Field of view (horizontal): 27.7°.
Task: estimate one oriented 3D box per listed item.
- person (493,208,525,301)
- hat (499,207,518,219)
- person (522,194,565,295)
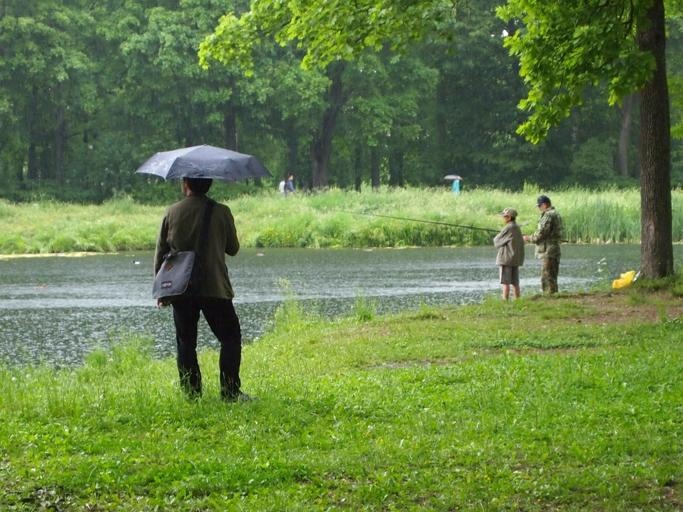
[{"bbox_3d":[4.864,0.091,40.509,0.951,2.833,0.939,1,1,5],"label":"person"},{"bbox_3d":[4.833,-1.207,40.366,0.478,0.253,0.329,3,11,22],"label":"hat"},{"bbox_3d":[5.977,-0.306,40.561,1.205,2.741,0.980,0,1,26],"label":"person"}]
